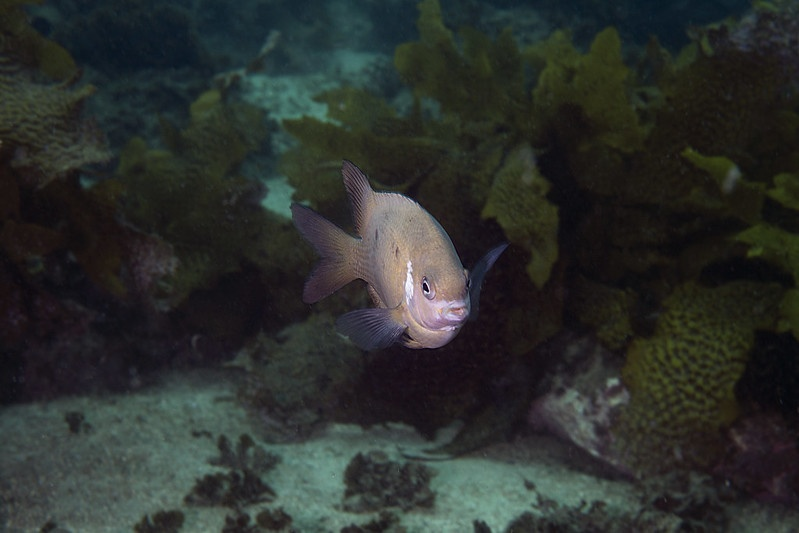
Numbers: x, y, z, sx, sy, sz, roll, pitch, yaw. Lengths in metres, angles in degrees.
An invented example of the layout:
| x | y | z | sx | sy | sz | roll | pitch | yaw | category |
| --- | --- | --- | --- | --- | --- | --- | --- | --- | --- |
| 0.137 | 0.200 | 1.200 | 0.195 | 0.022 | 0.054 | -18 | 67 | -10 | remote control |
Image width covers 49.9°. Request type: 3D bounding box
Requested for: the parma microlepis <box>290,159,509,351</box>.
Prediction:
| x | y | z | sx | sy | sz | roll | pitch | yaw | category |
| --- | --- | --- | --- | --- | --- | --- | --- | --- | --- |
| -0.031 | -0.030 | 2.530 | 0.445 | 0.389 | 0.619 | -10 | 32 | -39 | parma microlepis |
